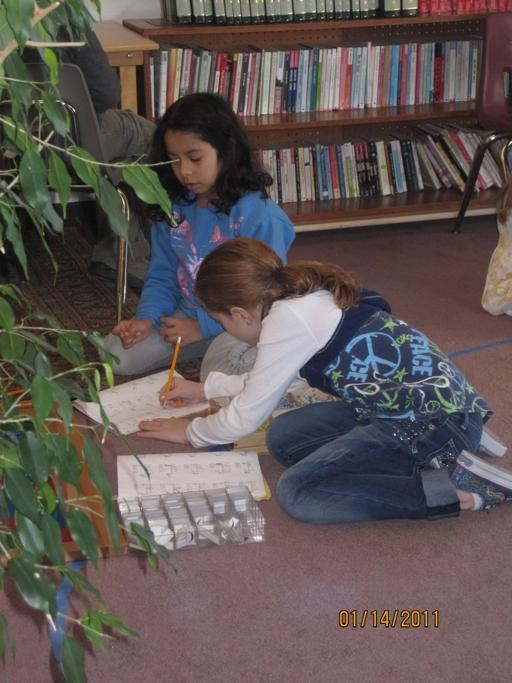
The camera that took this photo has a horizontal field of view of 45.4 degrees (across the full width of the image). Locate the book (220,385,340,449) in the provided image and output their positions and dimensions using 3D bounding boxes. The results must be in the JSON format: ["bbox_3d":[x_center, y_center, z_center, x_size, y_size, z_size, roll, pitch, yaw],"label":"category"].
[{"bbox_3d":[0.066,0.190,1.643,0.213,0.042,0.193,-12,19,-15],"label":"book"}]

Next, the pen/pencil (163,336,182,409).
[{"bbox_3d":[-0.236,0.085,1.691,0.017,0.185,0.017,12,-3,-32],"label":"pen/pencil"}]

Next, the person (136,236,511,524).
[{"bbox_3d":[0.180,0.036,1.489,0.922,0.512,0.525,7,25,16],"label":"person"}]

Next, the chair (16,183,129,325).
[{"bbox_3d":[-0.569,-0.229,1.906,0.369,0.163,0.786,5,39,-11],"label":"chair"}]

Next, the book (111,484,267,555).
[{"bbox_3d":[-0.125,0.401,1.263,0.279,0.110,0.070,-10,58,-22],"label":"book"}]
